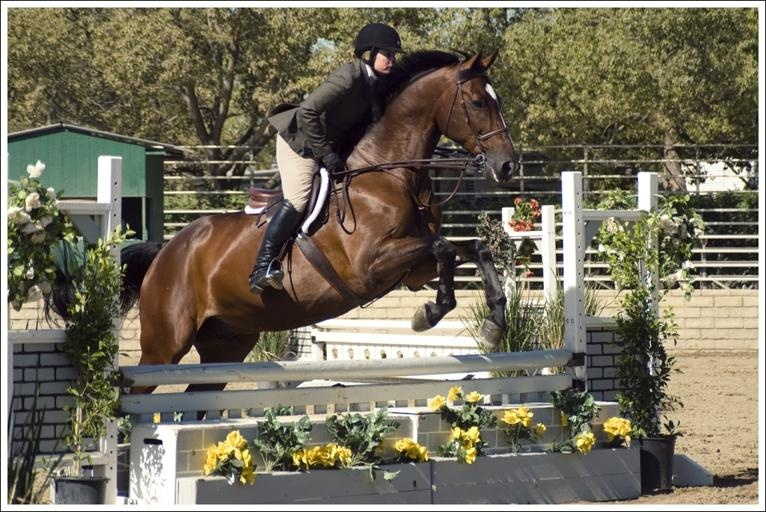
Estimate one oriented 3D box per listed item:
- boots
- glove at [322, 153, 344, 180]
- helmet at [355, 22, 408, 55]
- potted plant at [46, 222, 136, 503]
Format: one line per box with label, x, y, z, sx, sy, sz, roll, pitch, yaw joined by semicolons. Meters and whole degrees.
boots;-1.297;-0.110;17.284;0.665;1.124;0.266;-2;0;-1
glove;-0.602;-1.094;17.403;0.242;0.328;0.111;-31;6;-26
helmet;-0.062;-2.681;17.507;0.501;0.273;0.364;0;7;15
potted plant;-3.476;1.273;17.070;0.915;3.310;0.412;-2;0;-11
